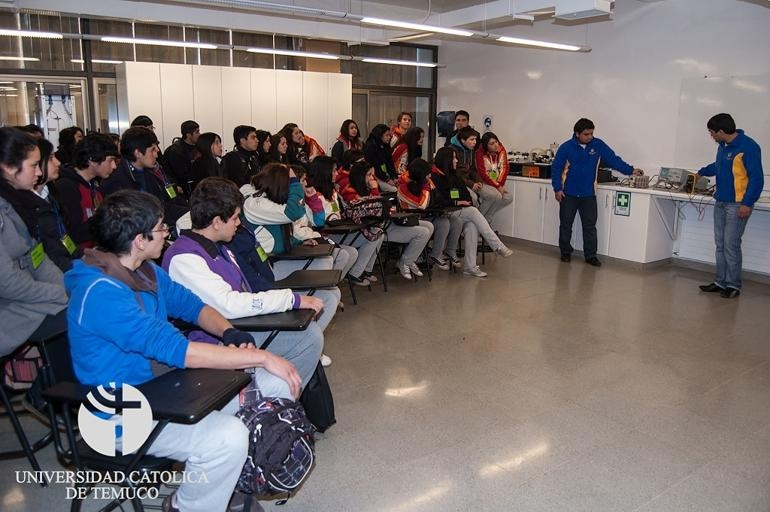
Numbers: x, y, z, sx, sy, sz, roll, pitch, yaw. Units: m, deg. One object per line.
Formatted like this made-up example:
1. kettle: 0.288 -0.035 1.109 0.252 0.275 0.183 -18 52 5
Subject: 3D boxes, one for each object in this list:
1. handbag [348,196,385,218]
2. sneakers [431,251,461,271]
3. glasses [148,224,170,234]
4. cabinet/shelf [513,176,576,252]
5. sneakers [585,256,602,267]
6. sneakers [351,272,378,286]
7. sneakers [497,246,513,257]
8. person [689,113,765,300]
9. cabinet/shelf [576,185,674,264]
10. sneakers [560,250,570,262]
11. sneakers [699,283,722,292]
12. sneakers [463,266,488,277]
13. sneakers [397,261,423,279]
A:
1. handbag: -0.213 -0.561 5.578 0.310 0.156 0.240 -4 9 -18
2. sneakers: 0.796 0.065 7.104 0.549 0.221 0.190 7 16 16
3. glasses: -1.210 -0.147 2.681 0.075 0.023 0.076 -2 7 9
4. cabinet/shelf: 2.600 -0.704 8.024 0.429 1.046 1.093 -7 11 -40
5. sneakers: 3.108 0.069 7.436 0.090 0.100 0.247 -8 6 -17
6. sneakers: -0.256 0.296 6.404 0.229 0.079 0.177 5 11 24
7. sneakers: 1.672 -0.079 7.145 0.115 0.144 0.353 -24 13 -15
8. person: 4.124 -0.605 6.042 0.605 2.132 0.380 11 17 36
9. cabinet/shelf: 3.663 -0.466 7.314 1.086 1.053 0.465 7 15 23
10. sneakers: 2.761 -0.011 7.643 0.160 0.195 0.485 0 2 18
11. sneakers: 4.102 0.387 6.309 0.269 0.117 0.101 5 15 18
12. sneakers: 1.246 0.217 6.890 0.315 0.141 0.129 4 8 23
13. sneakers: 0.331 0.193 6.613 0.191 0.119 0.296 -29 48 -27
